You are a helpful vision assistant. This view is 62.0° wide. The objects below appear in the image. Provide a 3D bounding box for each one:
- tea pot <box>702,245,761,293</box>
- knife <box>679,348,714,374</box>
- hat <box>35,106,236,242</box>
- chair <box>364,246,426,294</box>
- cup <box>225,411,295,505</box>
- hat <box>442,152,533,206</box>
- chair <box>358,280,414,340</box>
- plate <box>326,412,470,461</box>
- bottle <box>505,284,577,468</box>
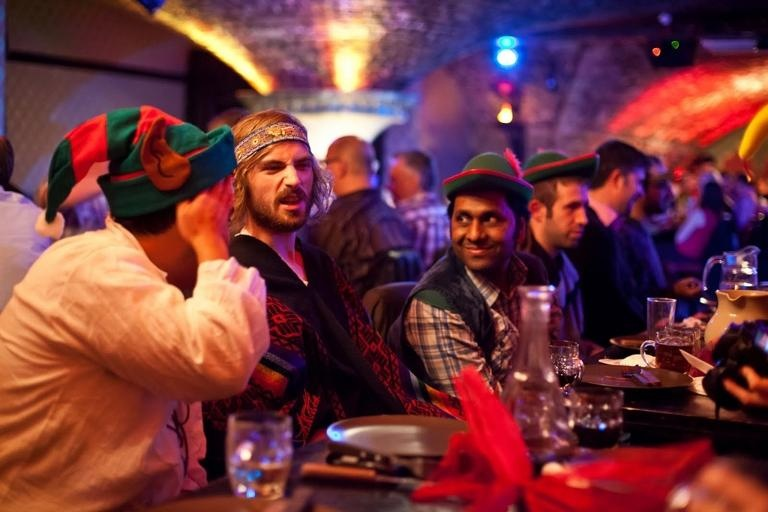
[{"bbox_3d":[1.650,0.108,3.038,0.265,0.271,0.169,-7,-18,44],"label":"tea pot"},{"bbox_3d":[1.082,0.368,2.221,0.032,0.048,0.356,27,-4,42],"label":"knife"},{"bbox_3d":[-0.730,-0.265,1.897,0.580,0.304,0.362,-11,21,-16],"label":"hat"},{"bbox_3d":[0.096,0.086,5.229,0.473,0.585,0.339,3,3,-15],"label":"chair"},{"bbox_3d":[-0.281,0.453,1.411,0.155,0.157,0.154,-1,-15,0],"label":"cup"},{"bbox_3d":[0.468,-0.334,2.687,0.306,0.121,0.241,6,-9,-40],"label":"hat"},{"bbox_3d":[0.013,0.253,2.882,0.222,0.186,0.120,-14,-7,-32],"label":"chair"},{"bbox_3d":[0.052,0.444,1.566,0.355,0.038,0.359,1,1,4],"label":"plate"},{"bbox_3d":[0.359,0.271,1.494,0.158,0.391,0.254,-2,-8,6],"label":"bottle"}]
